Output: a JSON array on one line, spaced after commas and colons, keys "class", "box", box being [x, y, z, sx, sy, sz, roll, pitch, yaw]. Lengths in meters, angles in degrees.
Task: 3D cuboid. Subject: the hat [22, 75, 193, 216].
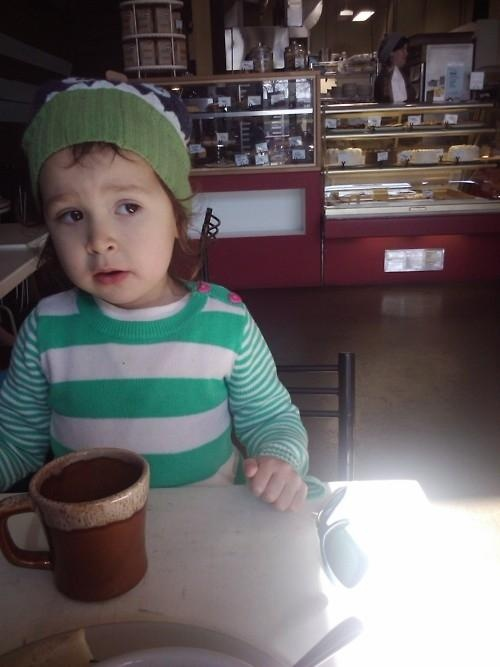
[{"class": "hat", "box": [-0.232, -0.292, 0.942, 0.184, 0.189, 0.246, -2, 1, -3]}]

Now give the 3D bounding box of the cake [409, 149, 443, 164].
[{"class": "cake", "box": [1.349, -1.349, 4.220, 0.128, 0.066, 0.166, 1, 2, 9]}]

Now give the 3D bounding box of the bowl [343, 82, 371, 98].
[{"class": "bowl", "box": [0.957, -2.186, 5.005, 0.255, 0.142, 0.179, 9, 14, 20]}]
